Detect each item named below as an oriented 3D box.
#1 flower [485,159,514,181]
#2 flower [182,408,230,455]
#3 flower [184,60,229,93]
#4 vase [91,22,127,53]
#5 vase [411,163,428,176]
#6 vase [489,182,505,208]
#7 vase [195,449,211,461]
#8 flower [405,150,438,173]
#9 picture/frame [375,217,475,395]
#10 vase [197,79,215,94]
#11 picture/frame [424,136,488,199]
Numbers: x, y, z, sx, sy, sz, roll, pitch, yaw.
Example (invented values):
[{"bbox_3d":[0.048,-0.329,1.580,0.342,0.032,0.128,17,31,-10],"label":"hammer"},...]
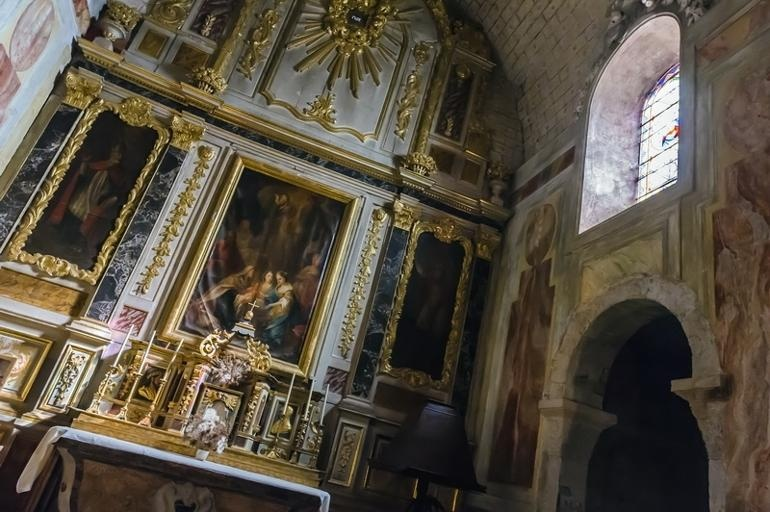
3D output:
[{"bbox_3d":[1.692,-1.288,10.785,0.321,0.216,0.314,4,11,7],"label":"flower"},{"bbox_3d":[-1.955,1.904,8.023,0.476,0.536,0.506,11,-13,-10],"label":"flower"},{"bbox_3d":[-2.404,-2.438,9.868,0.435,0.419,0.171,21,-30,-17],"label":"flower"},{"bbox_3d":[-3.725,-2.931,9.686,0.307,0.296,0.308,-36,-63,26],"label":"vase"},{"bbox_3d":[0.495,-1.229,10.431,0.152,0.138,0.189,19,-14,-19],"label":"vase"},{"bbox_3d":[1.640,-0.904,10.644,0.253,0.305,0.246,25,-33,-24],"label":"vase"},{"bbox_3d":[-1.978,2.125,7.834,0.164,0.116,0.148,2,-15,8],"label":"vase"},{"bbox_3d":[0.495,-1.364,10.470,0.362,0.266,0.083,7,-27,-24],"label":"flower"},{"bbox_3d":[0.627,0.621,10.032,1.047,2.389,0.165,17,-24,-9],"label":"picture/frame"},{"bbox_3d":[-2.426,-2.265,9.795,0.226,0.151,0.092,19,-24,-16],"label":"vase"},{"bbox_3d":[1.001,-1.288,10.718,0.885,0.612,0.088,22,-29,-16],"label":"picture/frame"}]
